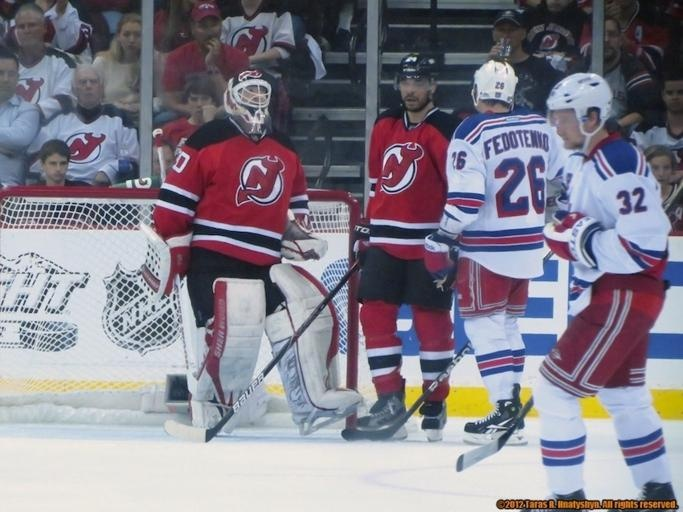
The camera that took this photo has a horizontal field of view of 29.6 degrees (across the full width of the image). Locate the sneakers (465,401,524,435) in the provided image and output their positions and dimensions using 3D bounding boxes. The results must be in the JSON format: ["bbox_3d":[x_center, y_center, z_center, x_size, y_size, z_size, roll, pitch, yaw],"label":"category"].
[{"bbox_3d":[0.807,0.836,6.739,0.357,0.213,0.127,1,1,16],"label":"sneakers"}]

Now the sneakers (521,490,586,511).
[{"bbox_3d":[0.943,1.079,5.711,0.275,0.127,0.065,4,4,10],"label":"sneakers"}]

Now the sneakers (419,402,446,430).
[{"bbox_3d":[0.499,0.835,6.859,0.101,0.158,0.166,-1,-10,12],"label":"sneakers"}]

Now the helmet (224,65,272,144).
[{"bbox_3d":[-0.457,-0.830,6.740,0.247,0.333,0.341,0,10,-17],"label":"helmet"}]

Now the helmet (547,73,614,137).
[{"bbox_3d":[1.120,-0.713,5.975,0.298,0.274,0.226,-8,14,-5],"label":"helmet"}]

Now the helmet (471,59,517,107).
[{"bbox_3d":[0.840,-0.887,6.889,0.253,0.271,0.296,15,4,-6],"label":"helmet"}]

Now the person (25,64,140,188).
[{"bbox_3d":[-1.582,-0.764,8.450,0.835,1.074,0.589,0,-14,-11],"label":"person"}]

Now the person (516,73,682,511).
[{"bbox_3d":[1.215,0.157,5.812,0.650,1.972,0.420,3,4,5],"label":"person"}]

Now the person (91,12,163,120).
[{"bbox_3d":[-1.377,-1.171,8.276,0.510,0.779,0.429,-2,20,-32],"label":"person"}]

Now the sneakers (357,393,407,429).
[{"bbox_3d":[0.221,0.808,6.792,0.260,0.110,0.133,-34,43,-26],"label":"sneakers"}]

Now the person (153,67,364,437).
[{"bbox_3d":[-0.454,-0.026,6.662,1.026,1.873,0.367,3,4,-9],"label":"person"}]

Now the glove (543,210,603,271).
[{"bbox_3d":[1.013,-0.032,5.835,0.341,0.261,0.164,0,-40,6],"label":"glove"}]

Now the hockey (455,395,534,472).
[{"bbox_3d":[0.702,0.871,6.053,0.443,0.132,0.278,-28,-2,16],"label":"hockey"}]

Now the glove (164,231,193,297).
[{"bbox_3d":[-0.830,0.024,6.621,0.117,0.321,0.180,3,4,4],"label":"glove"}]

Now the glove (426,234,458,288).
[{"bbox_3d":[0.525,0.016,6.732,0.170,0.316,0.231,3,4,4],"label":"glove"}]

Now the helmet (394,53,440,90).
[{"bbox_3d":[0.419,-1.005,6.958,0.187,0.202,0.217,7,9,23],"label":"helmet"}]
